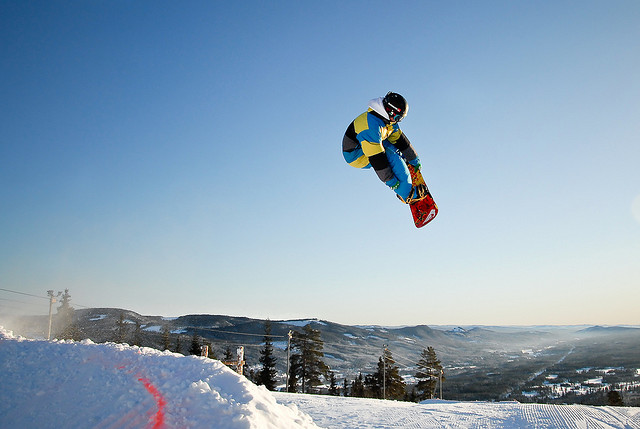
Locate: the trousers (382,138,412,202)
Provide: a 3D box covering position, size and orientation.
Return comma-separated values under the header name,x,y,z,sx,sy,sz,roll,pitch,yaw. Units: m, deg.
name,x,y,z,sx,sy,sz,roll,pitch,yaw
trousers,1.945,-1.208,10.474,0.498,1.684,1.060,-15,-23,38
